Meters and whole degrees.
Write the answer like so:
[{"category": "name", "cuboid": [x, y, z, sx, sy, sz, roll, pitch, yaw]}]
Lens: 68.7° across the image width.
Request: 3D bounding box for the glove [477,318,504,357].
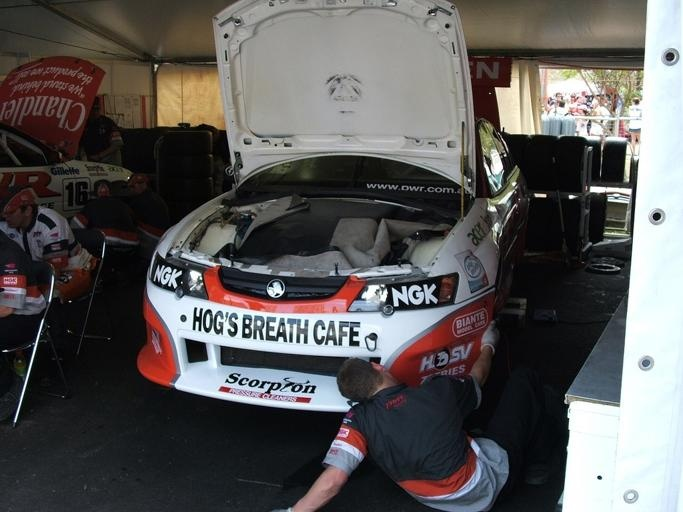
[{"category": "glove", "cuboid": [0.958, 0.498, 3.157, 0.116, 0.062, 0.234, -8, 41, 42]}]
